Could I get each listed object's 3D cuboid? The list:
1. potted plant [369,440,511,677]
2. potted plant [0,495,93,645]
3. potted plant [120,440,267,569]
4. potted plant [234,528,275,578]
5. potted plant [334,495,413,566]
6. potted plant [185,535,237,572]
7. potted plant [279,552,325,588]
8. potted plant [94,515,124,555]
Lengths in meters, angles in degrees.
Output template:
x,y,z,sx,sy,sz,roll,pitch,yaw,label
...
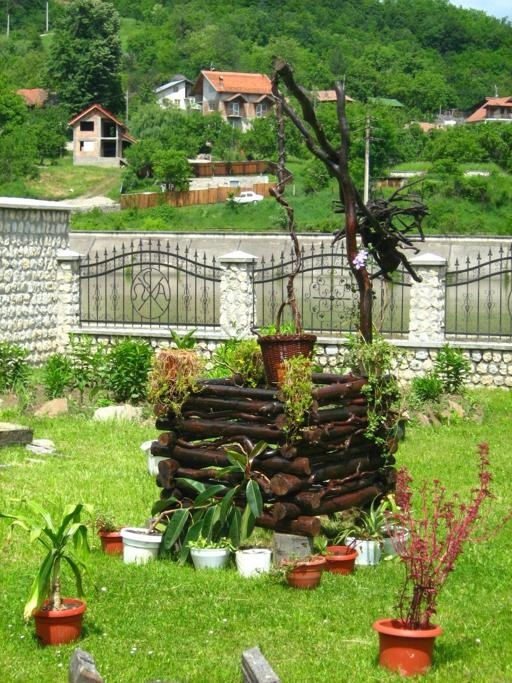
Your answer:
x,y,z,sx,sy,sz,roll,pitch,yaw,label
1.176,1.417,6.837,0.747,1.712,0.752,17,-16,-41,potted plant
-1.280,1.431,6.536,0.633,1.027,0.610,1,-3,-38,potted plant
-0.354,1.128,7.506,0.939,0.860,0.675,1,-3,29,potted plant
-0.012,1.456,7.292,0.220,0.214,0.265,0,-4,-6,potted plant
0.801,1.369,7.748,0.400,0.467,0.589,0,-6,9,potted plant
-0.306,1.454,7.347,0.310,0.208,0.223,0,7,-6,potted plant
0.316,1.483,6.911,0.178,0.131,0.193,2,-8,-19,potted plant
-1.038,1.405,7.783,0.194,0.255,0.231,-1,-9,14,potted plant
